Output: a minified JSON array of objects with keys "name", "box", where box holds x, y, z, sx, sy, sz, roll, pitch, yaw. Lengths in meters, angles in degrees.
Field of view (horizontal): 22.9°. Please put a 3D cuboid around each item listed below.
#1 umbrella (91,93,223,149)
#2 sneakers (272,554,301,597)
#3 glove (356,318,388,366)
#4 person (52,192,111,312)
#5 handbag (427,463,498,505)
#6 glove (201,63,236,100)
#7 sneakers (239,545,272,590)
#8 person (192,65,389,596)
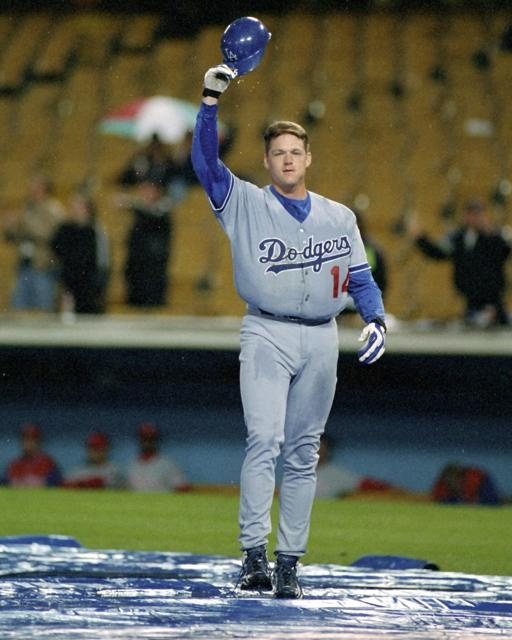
[{"name":"umbrella","box":[-0.702,-1.340,8.576,0.603,0.174,0.570,-8,15,-26]},{"name":"sneakers","box":[0.131,1.001,4.941,0.113,0.145,0.240,1,-3,1]},{"name":"glove","box":[0.498,0.095,5.136,0.090,0.175,0.135,11,5,-36]},{"name":"person","box":[-1.071,-0.441,7.882,0.337,0.786,0.696,1,-4,-7]},{"name":"handbag","box":[1.275,0.988,7.521,0.429,0.227,0.251,5,16,-14]},{"name":"glove","box":[-0.149,-0.948,5.019,0.117,0.151,0.065,33,-20,7]},{"name":"sneakers","box":[0.006,0.979,4.993,0.136,0.174,0.151,1,-4,-2]},{"name":"person","box":[0.144,0.030,5.084,0.833,2.099,0.367,2,-4,-13]}]
